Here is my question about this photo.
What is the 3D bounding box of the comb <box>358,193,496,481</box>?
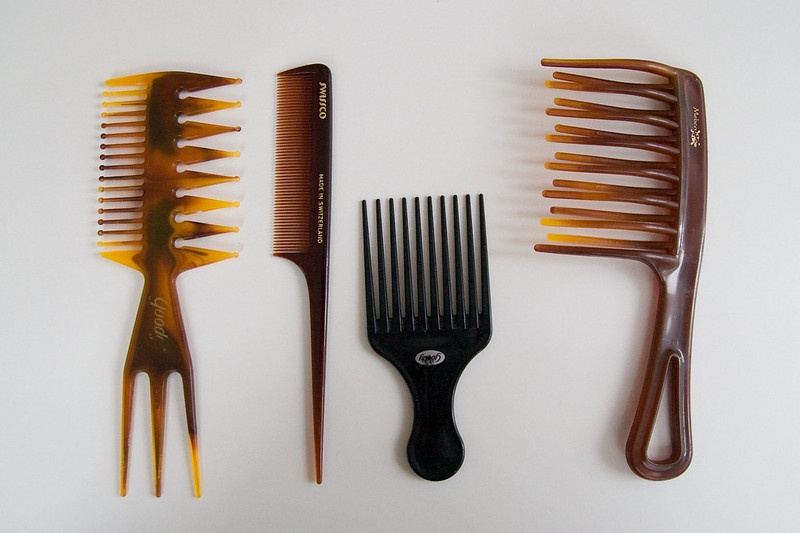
[{"bbox_3d":[0.082,0.214,2.956,0.410,0.872,0.217,1,9,-2],"label":"comb"}]
